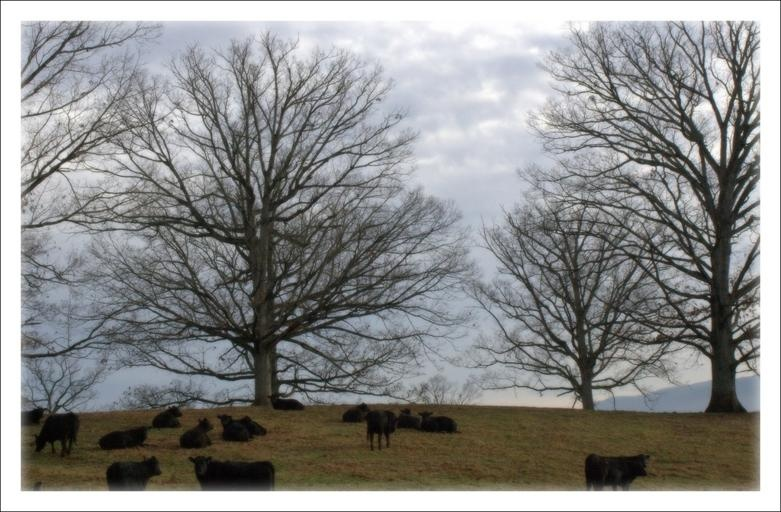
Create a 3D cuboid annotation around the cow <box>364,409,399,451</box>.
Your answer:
[{"bbox_3d":[-0.467,7.683,41.845,1.042,1.683,1.775,4,9,17],"label":"cow"}]

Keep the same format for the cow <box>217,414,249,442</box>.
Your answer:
[{"bbox_3d":[-7.122,7.908,42.488,0.779,0.708,1.385,7,-5,-35],"label":"cow"}]

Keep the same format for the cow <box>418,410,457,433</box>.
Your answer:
[{"bbox_3d":[2.232,7.980,44.521,1.829,1.010,0.772,6,-9,11],"label":"cow"}]

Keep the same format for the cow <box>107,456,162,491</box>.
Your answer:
[{"bbox_3d":[-10.173,8.760,37.324,2.376,1.733,1.019,-1,-2,-22],"label":"cow"}]

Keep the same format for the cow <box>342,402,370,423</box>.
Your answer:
[{"bbox_3d":[-1.681,7.672,45.588,1.466,0.785,0.936,-7,12,-42],"label":"cow"}]

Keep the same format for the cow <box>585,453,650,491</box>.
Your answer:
[{"bbox_3d":[9.237,9.087,38.737,2.751,1.955,1.045,-5,11,-33],"label":"cow"}]
